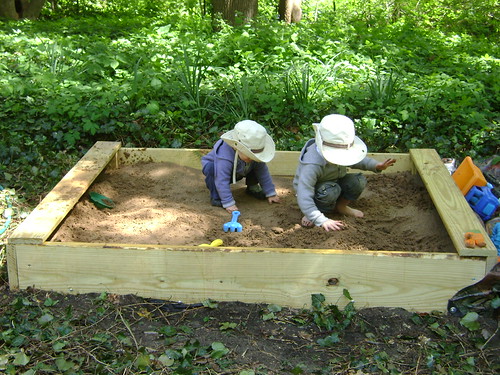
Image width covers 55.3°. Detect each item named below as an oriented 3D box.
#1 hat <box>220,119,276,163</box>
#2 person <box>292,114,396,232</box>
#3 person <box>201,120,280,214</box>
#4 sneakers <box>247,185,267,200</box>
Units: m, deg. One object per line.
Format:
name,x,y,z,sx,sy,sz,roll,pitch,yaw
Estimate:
hat,0.027,-0.431,4.367,0.512,0.201,0.393,34,25,12
person,0.765,-0.123,4.326,0.940,0.964,0.791,-24,30,-33
person,-0.163,-0.227,4.665,0.905,0.673,0.687,5,14,22
sneakers,0.011,0.044,4.880,0.275,0.103,0.088,16,32,34
